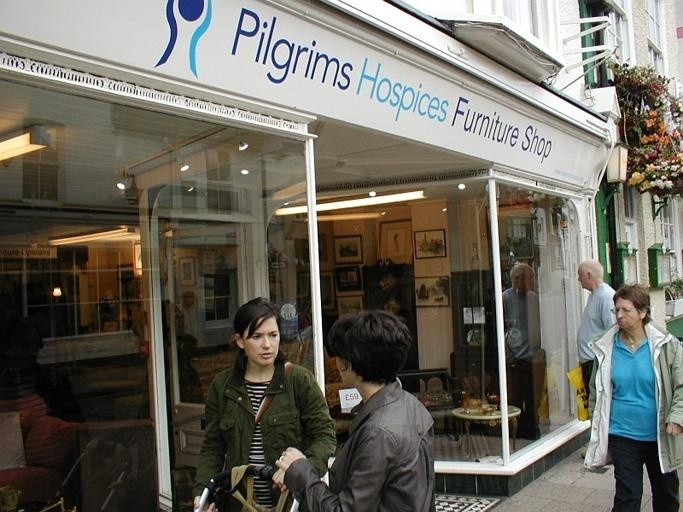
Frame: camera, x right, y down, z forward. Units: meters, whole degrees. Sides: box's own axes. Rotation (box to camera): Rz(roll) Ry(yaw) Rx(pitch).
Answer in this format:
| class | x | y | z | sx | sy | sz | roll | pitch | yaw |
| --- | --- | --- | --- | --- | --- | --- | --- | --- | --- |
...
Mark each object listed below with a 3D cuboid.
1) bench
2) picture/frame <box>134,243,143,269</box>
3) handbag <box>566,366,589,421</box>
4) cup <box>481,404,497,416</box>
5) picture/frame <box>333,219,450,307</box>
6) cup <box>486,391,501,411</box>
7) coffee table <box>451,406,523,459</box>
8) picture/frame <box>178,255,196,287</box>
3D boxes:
| class | x | y | z | sx | sy | sz | roll | pitch | yaw |
| --- | --- | --- | --- | --- | --- | --- | --- | --- | --- |
| bench | 0.859 | 1.575 | 6.393 | 0.704 | 0.609 | 0.259 | -6 | -9 | 22 |
| picture/frame | -1.255 | -0.005 | 3.530 | 0.035 | 0.105 | 0.074 | -3 | -1 | 11 |
| handbag | 2.488 | 1.442 | 5.935 | 0.142 | 0.604 | 0.792 | -4 | -1 | 24 |
| cup | 1.539 | 1.589 | 5.882 | 0.106 | 0.069 | 0.106 | 0 | 2 | 0 |
| picture/frame | 0.679 | 0.115 | 6.564 | 1.194 | 0.951 | 0.317 | -4 | -2 | 43 |
| cup | 1.579 | 1.491 | 5.880 | 0.143 | 0.226 | 0.154 | 0 | -6 | 0 |
| coffee table | 1.646 | 1.876 | 6.147 | 0.654 | 0.504 | 0.648 | -8 | -4 | -2 |
| picture/frame | -1.028 | 0.098 | 3.809 | 0.104 | 0.141 | 0.083 | -3 | -1 | -23 |
